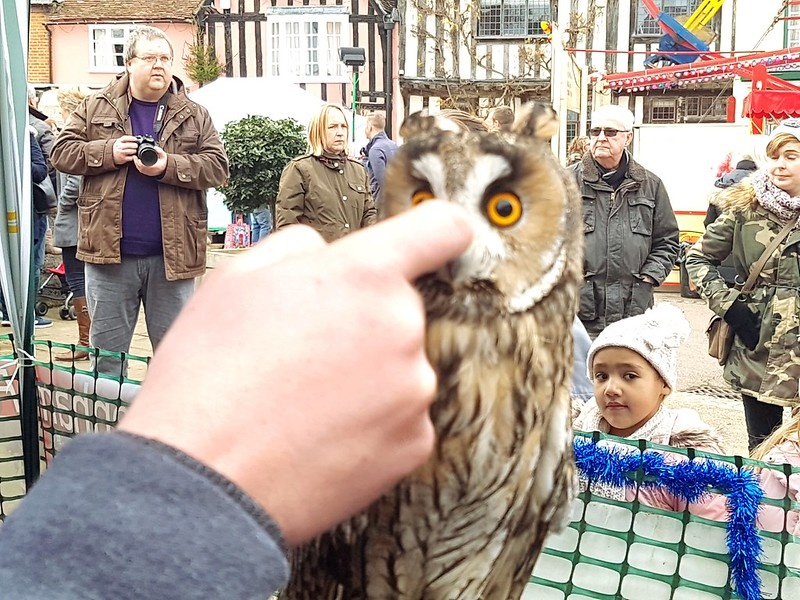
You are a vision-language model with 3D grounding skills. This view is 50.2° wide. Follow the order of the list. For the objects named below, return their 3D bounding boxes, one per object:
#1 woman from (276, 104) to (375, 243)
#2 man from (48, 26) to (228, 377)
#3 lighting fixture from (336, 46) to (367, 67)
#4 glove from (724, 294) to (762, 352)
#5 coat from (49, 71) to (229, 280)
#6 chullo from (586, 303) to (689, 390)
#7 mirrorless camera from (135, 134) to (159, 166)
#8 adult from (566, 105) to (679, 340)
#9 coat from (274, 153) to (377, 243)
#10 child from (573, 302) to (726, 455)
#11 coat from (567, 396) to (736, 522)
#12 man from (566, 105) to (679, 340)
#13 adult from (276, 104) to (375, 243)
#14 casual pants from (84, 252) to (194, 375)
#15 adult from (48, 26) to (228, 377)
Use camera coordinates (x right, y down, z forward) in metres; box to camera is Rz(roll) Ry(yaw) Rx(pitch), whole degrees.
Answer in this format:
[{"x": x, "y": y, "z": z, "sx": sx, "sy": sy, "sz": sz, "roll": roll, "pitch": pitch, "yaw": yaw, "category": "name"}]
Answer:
[{"x": -0.378, "y": -0.564, "z": 4.796, "sx": 0.521, "sy": 1.037, "sz": 0.438, "roll": 0, "pitch": -9, "yaw": -15, "category": "woman"}, {"x": -1.129, "y": -0.336, "z": 3.681, "sx": 0.618, "sy": 1.624, "sz": 0.555, "roll": 0, "pitch": 6, "yaw": -25, "category": "man"}, {"x": -0.699, "y": -3.537, "z": 12.518, "sx": 0.377, "sy": 0.260, "sz": 0.515, "roll": 0, "pitch": 10, "yaw": -14, "category": "lighting fixture"}, {"x": 1.432, "y": 0.100, "z": 3.530, "sx": 0.072, "sy": 0.209, "sz": 0.140, "roll": -1, "pitch": -24, "yaw": -28, "category": "glove"}, {"x": -1.134, "y": -0.568, "z": 3.731, "sx": 0.633, "sy": 0.892, "sz": 0.428, "roll": 2, "pitch": 1, "yaw": -23, "category": "coat"}, {"x": 0.804, "y": 0.126, "z": 2.820, "sx": 0.217, "sy": 0.289, "sz": 0.323, "roll": 10, "pitch": -5, "yaw": 37, "category": "chullo"}, {"x": -1.035, "y": -0.608, "z": 3.492, "sx": 0.060, "sy": 0.106, "sz": 0.109, "roll": -26, "pitch": 28, "yaw": -4, "category": "mirrorless camera"}, {"x": 1.088, "y": -0.202, "z": 4.453, "sx": 0.653, "sy": 1.605, "sz": 0.429, "roll": -6, "pitch": 29, "yaw": 6, "category": "adult"}, {"x": -0.396, "y": -0.553, "z": 4.851, "sx": 0.571, "sy": 0.653, "sz": 0.307, "roll": 0, "pitch": -10, "yaw": -24, "category": "coat"}, {"x": 0.907, "y": 0.285, "z": 3.089, "sx": 0.553, "sy": 0.526, "sz": 0.309, "roll": 4, "pitch": -5, "yaw": 42, "category": "child"}, {"x": 0.816, "y": 0.493, "z": 2.540, "sx": 0.343, "sy": 0.175, "sz": 0.296, "roll": 6, "pitch": 7, "yaw": -41, "category": "coat"}, {"x": 1.098, "y": -0.181, "z": 4.418, "sx": 0.630, "sy": 1.608, "sz": 0.485, "roll": -2, "pitch": 29, "yaw": 13, "category": "man"}, {"x": -0.389, "y": -0.564, "z": 4.793, "sx": 0.515, "sy": 1.032, "sz": 0.439, "roll": 1, "pitch": -9, "yaw": -13, "category": "adult"}, {"x": -1.108, "y": 0.009, "z": 3.658, "sx": 0.464, "sy": 0.352, "sz": 0.307, "roll": -11, "pitch": -4, "yaw": -23, "category": "casual pants"}, {"x": -1.138, "y": -0.349, "z": 3.705, "sx": 0.615, "sy": 1.624, "sz": 0.489, "roll": 0, "pitch": 6, "yaw": -26, "category": "adult"}]
